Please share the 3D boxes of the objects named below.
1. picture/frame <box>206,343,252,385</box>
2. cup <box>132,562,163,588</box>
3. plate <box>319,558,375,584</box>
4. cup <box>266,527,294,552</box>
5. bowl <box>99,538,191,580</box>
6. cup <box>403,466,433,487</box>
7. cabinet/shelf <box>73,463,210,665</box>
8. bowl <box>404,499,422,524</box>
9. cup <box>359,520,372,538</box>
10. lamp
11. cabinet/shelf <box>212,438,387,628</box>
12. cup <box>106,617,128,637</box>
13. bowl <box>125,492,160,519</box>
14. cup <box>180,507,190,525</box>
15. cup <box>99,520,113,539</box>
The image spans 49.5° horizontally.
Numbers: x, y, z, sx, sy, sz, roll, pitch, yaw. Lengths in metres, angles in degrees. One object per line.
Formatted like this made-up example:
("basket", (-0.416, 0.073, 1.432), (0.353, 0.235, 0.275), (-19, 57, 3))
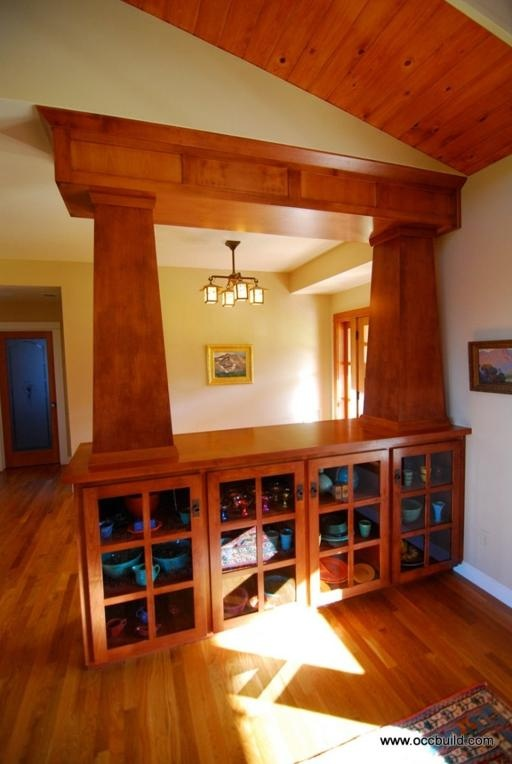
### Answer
("picture/frame", (-0.309, -0.188, 5.716), (0.418, 0.363, 0.030), (-3, 5, -29))
("cup", (-0.457, 0.807, 2.318), (0.103, 0.076, 0.074), (5, -6, -40))
("plate", (0.444, 0.943, 2.738), (0.210, 0.035, 0.151), (1, 16, -3))
("cup", (0.109, 0.731, 2.612), (0.123, 0.096, 0.111), (0, 1, -7))
("bowl", (-0.455, 0.723, 2.338), (0.247, 0.090, 0.185), (-3, -10, -1))
("cup", (0.808, 0.490, 2.842), (0.176, 0.099, 0.068), (0, 0, -23))
("cabinet/shelf", (-0.478, 0.720, 2.379), (0.491, 0.844, 0.276), (-4, 11, -19))
("bowl", (0.793, 0.665, 2.859), (0.111, 0.081, 0.112), (-1, -1, 0))
("cup", (0.530, 0.728, 2.733), (0.078, 0.089, 0.079), (-1, -4, 0))
("lamp", (-0.171, -0.840, 4.242), (0.515, 0.482, 0.509), (1, 3, 31))
("cabinet/shelf", (0.171, 0.697, 2.563), (0.822, 0.689, 0.269), (-3, 3, -21))
("cup", (-0.593, 1.043, 2.361), (0.048, 0.052, 0.075), (0, 1, 42))
("bowl", (-0.479, 0.512, 2.299), (0.108, 0.084, 0.106), (0, 2, 0))
("cup", (-0.306, 0.579, 2.376), (0.055, 0.063, 0.056), (0, 1, 0))
("cup", (-0.608, 0.604, 2.254), (0.060, 0.048, 0.057), (-1, 1, 0))
